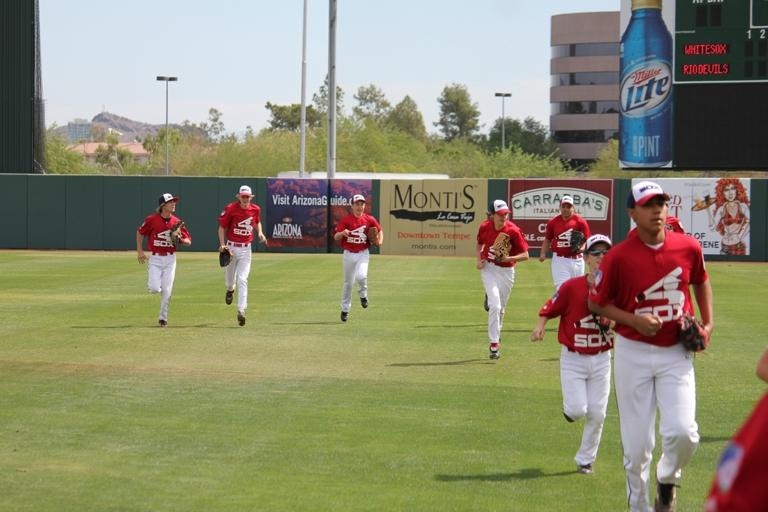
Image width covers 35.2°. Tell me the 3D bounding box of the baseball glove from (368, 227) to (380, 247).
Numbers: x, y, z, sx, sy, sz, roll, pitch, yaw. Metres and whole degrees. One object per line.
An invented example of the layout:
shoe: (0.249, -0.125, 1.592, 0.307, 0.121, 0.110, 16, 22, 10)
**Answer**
baseball glove: (-0.250, -0.471, 27.993, 0.232, 0.372, 0.326, -2, 31, -6)

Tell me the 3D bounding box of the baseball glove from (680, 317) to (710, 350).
baseball glove: (4.711, 1.207, 18.542, 0.396, 0.500, 0.199, -4, 6, 13)

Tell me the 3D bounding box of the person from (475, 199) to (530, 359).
person: (2.400, 0.479, 24.860, 1.010, 3.196, 0.996, -1, 4, 5)

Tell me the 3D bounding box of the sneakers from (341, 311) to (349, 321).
sneakers: (-0.957, 1.410, 28.223, 0.142, 0.224, 0.228, 5, -9, -13)

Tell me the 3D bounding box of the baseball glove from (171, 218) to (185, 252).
baseball glove: (-4.623, -0.495, 26.933, 0.216, 0.662, 0.220, 8, 2, -24)

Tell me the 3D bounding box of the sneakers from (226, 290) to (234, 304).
sneakers: (-3.696, 1.016, 29.000, 0.165, 0.471, 0.205, -2, 10, -16)

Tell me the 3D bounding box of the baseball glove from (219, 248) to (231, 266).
baseball glove: (-3.670, 0.012, 27.537, 0.257, 0.443, 0.199, 18, 29, 17)

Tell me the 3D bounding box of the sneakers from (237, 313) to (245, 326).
sneakers: (-3.225, 1.418, 27.221, 0.209, 0.254, 0.256, -4, 33, -2)

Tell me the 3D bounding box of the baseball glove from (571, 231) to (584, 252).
baseball glove: (4.001, -0.307, 25.150, 0.306, 0.393, 0.146, 9, -1, 40)

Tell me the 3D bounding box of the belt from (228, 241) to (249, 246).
belt: (-3.321, -0.290, 27.568, 0.464, 0.129, 0.326, -1, 4, -2)

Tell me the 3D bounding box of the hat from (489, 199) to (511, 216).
hat: (2.382, -1.023, 25.144, 0.327, 0.247, 0.461, -4, 4, -19)

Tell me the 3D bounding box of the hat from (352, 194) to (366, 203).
hat: (-0.606, -1.332, 28.008, 0.266, 0.189, 0.410, -2, 4, -6)
